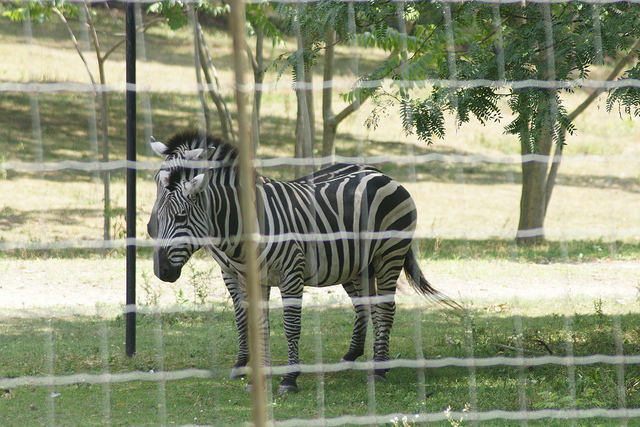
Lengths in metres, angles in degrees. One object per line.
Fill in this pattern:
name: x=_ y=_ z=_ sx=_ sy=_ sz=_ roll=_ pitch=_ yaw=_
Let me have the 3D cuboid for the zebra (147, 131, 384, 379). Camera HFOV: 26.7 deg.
zebra: x=-0.289 y=0.658 z=18.457 sx=4.864 sy=3.497 sz=1.238 roll=-7 pitch=6 yaw=-43
